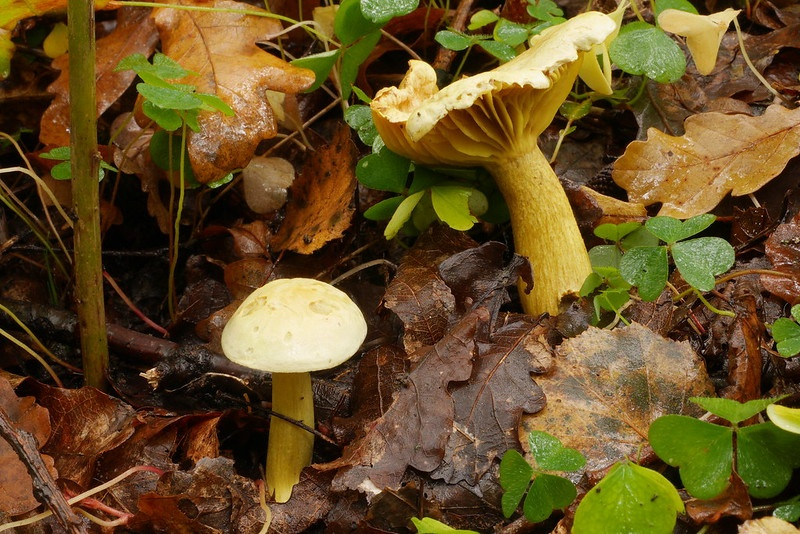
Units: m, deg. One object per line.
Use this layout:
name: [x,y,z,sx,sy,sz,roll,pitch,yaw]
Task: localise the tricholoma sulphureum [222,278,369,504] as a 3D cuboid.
tricholoma sulphureum: [-0.507,0.604,3.645,0.674,0.874,1.032,2,92,-12]
